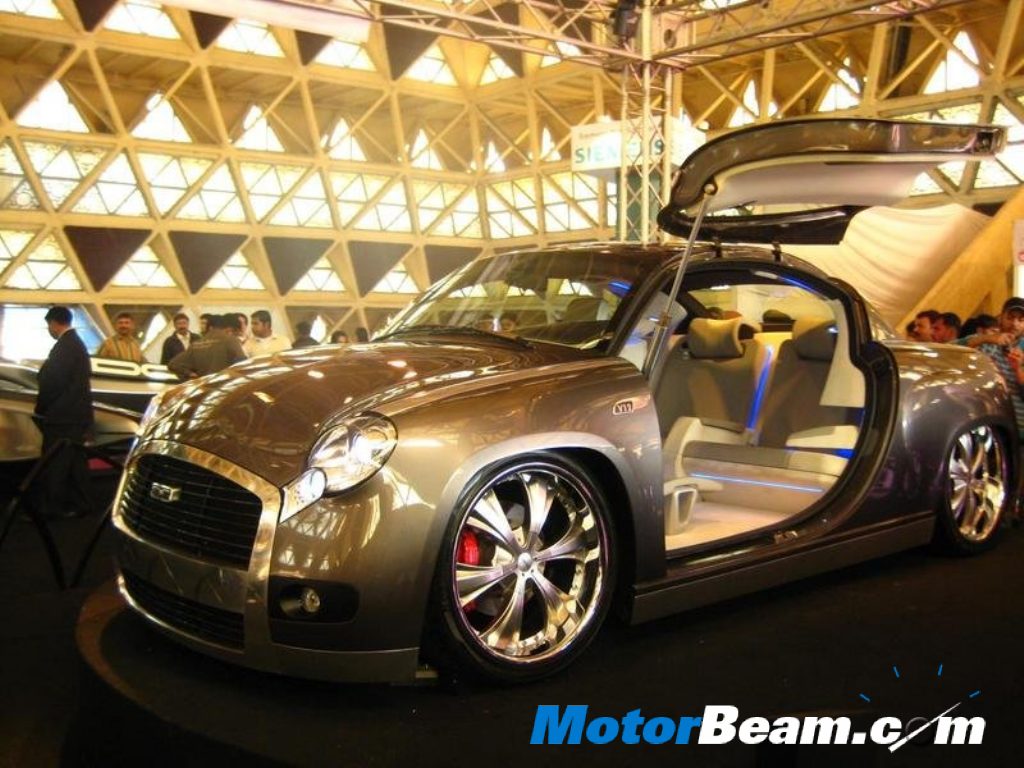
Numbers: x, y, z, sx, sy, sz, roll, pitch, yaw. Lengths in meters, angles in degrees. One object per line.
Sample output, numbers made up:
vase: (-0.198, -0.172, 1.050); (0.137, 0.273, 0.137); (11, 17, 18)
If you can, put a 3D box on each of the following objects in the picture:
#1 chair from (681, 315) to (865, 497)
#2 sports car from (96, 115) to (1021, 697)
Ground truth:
chair: (1.431, 0.075, 3.943); (0.972, 0.883, 0.748); (-2, 2, -11)
sports car: (0.434, -0.018, 3.520); (4.028, 1.644, 2.359); (1, -2, -35)
